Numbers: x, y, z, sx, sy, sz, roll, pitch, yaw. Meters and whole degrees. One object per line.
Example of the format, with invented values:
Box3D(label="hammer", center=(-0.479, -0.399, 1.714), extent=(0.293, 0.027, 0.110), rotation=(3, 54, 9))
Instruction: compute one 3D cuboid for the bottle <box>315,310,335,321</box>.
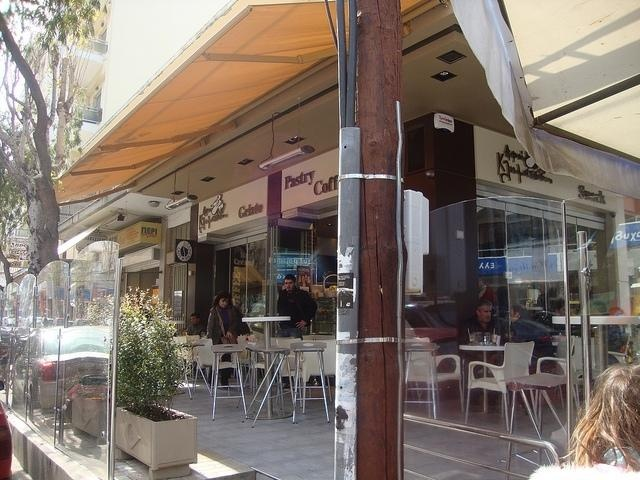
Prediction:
Box3D(label="bottle", center=(0.115, 1.780, 11.996), extent=(0.385, 0.295, 0.224), rotation=(-2, -1, 21))

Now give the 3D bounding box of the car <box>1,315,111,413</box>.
Box3D(label="car", center=(-2.936, 1.325, 5.778), extent=(1.064, 0.999, 2.740), rotation=(3, -8, -28))

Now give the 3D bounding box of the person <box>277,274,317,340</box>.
Box3D(label="person", center=(-0.456, 1.279, 9.883), extent=(0.620, 1.247, 0.770), rotation=(3, -10, -36))

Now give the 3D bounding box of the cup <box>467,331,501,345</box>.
Box3D(label="cup", center=(1.427, 0.841, 4.420), extent=(0.103, 0.079, 0.187), rotation=(2, -1, -20))

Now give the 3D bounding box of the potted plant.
Box3D(label="potted plant", center=(-1.637, 1.385, 5.105), extent=(0.741, 1.776, 1.063), rotation=(1, -9, -22))

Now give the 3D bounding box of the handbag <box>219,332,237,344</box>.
Box3D(label="handbag", center=(-1.851, 2.004, 10.398), extent=(0.327, 0.215, 0.897), rotation=(-1, -9, -11))
